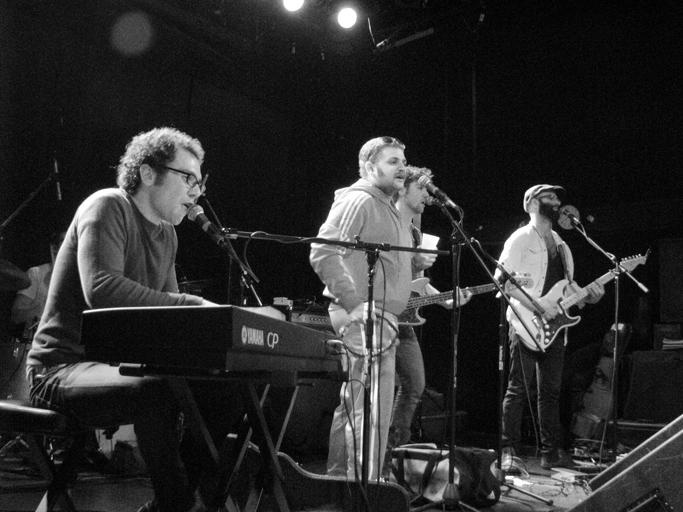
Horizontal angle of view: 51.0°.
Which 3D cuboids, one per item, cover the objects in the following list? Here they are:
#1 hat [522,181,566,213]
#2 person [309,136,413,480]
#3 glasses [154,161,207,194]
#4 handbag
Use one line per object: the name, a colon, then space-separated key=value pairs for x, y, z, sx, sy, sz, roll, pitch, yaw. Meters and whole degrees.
hat: x=1.871 y=-0.547 z=6.551 sx=0.396 sy=0.214 sz=0.293 roll=-33 pitch=-12 yaw=7
person: x=0.155 y=0.232 z=4.610 sx=0.751 sy=2.324 sz=0.737 roll=9 pitch=-11 yaw=-23
glasses: x=-0.876 y=-0.448 z=3.941 sx=0.164 sy=0.054 sz=0.167 roll=25 pitch=-4 yaw=-6
handbag: x=0.712 y=1.473 z=4.867 sx=0.542 sy=0.262 sz=0.429 roll=-3 pitch=-16 yaw=37
